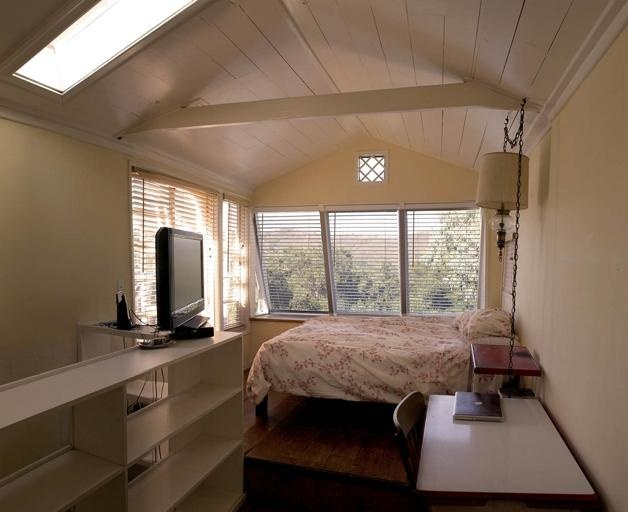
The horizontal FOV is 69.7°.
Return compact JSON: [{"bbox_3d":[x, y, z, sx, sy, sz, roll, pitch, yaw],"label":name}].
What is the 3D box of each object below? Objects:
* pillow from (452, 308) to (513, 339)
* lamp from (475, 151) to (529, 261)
[{"bbox_3d":[1.558,0.611,4.188,0.290,0.143,0.459,-10,-9,5],"label":"pillow"},{"bbox_3d":[1.393,-0.380,3.351,0.322,0.755,0.738,1,2,27],"label":"lamp"}]
